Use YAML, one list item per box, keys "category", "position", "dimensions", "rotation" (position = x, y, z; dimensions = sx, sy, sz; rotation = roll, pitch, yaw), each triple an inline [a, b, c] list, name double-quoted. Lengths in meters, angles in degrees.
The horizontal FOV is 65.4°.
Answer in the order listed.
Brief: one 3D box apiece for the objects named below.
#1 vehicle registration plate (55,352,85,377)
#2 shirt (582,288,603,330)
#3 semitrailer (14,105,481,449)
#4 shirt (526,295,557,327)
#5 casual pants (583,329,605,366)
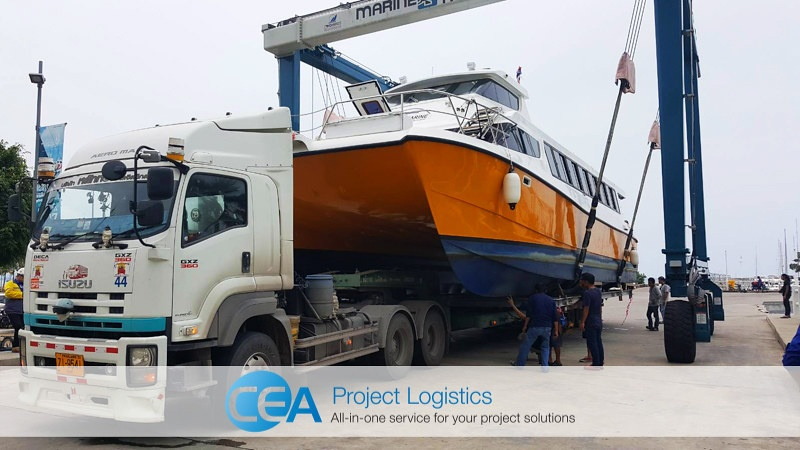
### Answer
- category: "vehicle registration plate"
  position: [-4.882, 2.083, 9.196]
  dimensions: [0.513, 0.325, 0.062]
  rotation: [2, 8, 17]
- category: "shirt"
  position: [3.920, 1.740, 12.775]
  dimensions: [0.346, 0.809, 0.433]
  rotation: [1, 8, 11]
- category: "semitrailer"
  position: [-2.354, 0.891, 12.101]
  dimensions: [3.134, 3.714, 7.870]
  rotation: [-8, -9, 33]
- category: "shirt"
  position: [2.822, 1.767, 12.471]
  dimensions: [0.665, 0.695, 0.409]
  rotation: [1, -1, 13]
- category: "casual pants"
  position: [3.977, 2.513, 12.763]
  dimensions: [0.393, 0.868, 0.510]
  rotation: [2, 8, 18]
